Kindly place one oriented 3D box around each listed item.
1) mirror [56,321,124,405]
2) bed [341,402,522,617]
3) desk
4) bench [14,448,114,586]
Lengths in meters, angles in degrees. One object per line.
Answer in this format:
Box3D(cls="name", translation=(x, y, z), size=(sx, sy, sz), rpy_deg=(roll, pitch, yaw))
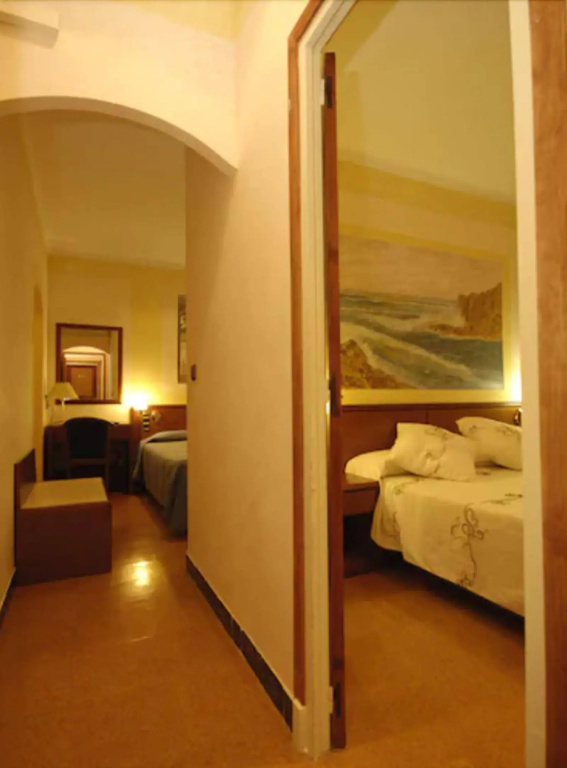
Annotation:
Box3D(cls="mirror", translation=(-1.906, -0.197, 5.722), size=(0.617, 0.066, 1.086), rpy_deg=(3, 47, -20))
Box3D(cls="bed", translation=(0.811, 0.547, 2.857), size=(0.770, 0.461, 0.798), rpy_deg=(-3, 3, -27))
Box3D(cls="desk", translation=(-1.831, 0.746, 5.510), size=(0.751, 1.029, 0.576), rpy_deg=(0, -4, -22))
Box3D(cls="bench", translation=(-1.263, 0.718, 3.411), size=(0.486, 0.449, 0.694), rpy_deg=(-1, 1, -21))
